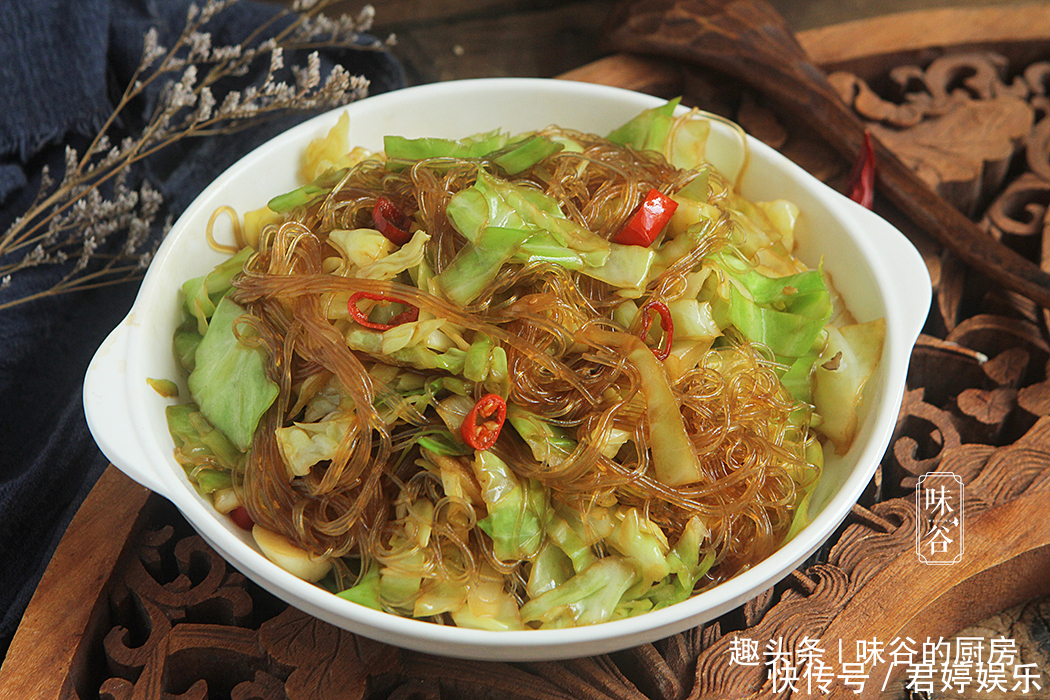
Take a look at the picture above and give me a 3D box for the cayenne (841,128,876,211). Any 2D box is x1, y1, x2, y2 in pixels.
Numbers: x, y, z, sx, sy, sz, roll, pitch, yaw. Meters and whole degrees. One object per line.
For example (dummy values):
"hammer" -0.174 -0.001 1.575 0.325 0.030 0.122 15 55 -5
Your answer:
"cayenne" 1.069 -0.549 3.327 0.095 0.298 0.082 5 47 28
